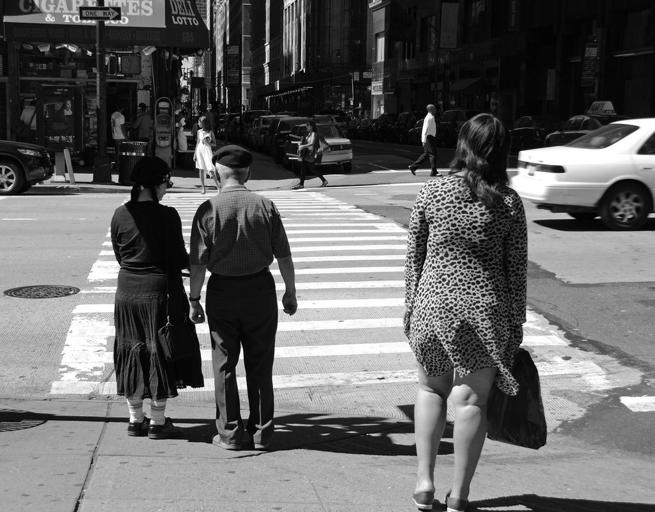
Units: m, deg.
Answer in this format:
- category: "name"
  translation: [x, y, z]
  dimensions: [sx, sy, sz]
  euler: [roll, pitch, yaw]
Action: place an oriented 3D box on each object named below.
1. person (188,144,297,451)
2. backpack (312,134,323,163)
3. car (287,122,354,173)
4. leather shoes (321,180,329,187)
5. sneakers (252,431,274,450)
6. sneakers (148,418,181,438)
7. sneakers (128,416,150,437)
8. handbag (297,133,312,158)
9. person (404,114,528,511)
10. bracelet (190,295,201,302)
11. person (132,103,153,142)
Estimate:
- category: "person"
  translation: [-0.537, 0.280, 4.599]
  dimensions: [0.695, 1.942, 0.403]
  euler: [-2, 10, -12]
- category: "backpack"
  translation: [-0.280, -3.388, 22.355]
  dimensions: [0.216, 0.818, 0.487]
  euler: [4, 3, -3]
- category: "car"
  translation: [-0.217, -4.037, 26.777]
  dimensions: [1.396, 1.128, 3.063]
  euler: [-7, 20, -17]
- category: "leather shoes"
  translation: [-0.116, -2.311, 22.798]
  dimensions: [0.246, 0.125, 0.359]
  euler: [-1, 7, 0]
- category: "sneakers"
  translation: [-0.424, 1.198, 4.640]
  dimensions: [0.060, 0.078, 0.175]
  euler: [2, 5, 5]
- category: "sneakers"
  translation: [-1.088, 1.159, 4.795]
  dimensions: [0.213, 0.104, 0.091]
  euler: [-3, 5, -39]
- category: "sneakers"
  translation: [-1.261, 1.149, 4.829]
  dimensions: [0.077, 0.092, 0.191]
  euler: [3, 7, 27]
- category: "handbag"
  translation: [-0.707, -3.328, 21.645]
  dimensions: [0.333, 0.711, 0.897]
  euler: [-1, 11, -6]
- category: "person"
  translation: [0.706, 0.311, 3.688]
  dimensions: [0.627, 2.046, 0.444]
  euler: [1, 10, 7]
- category: "bracelet"
  translation: [-0.866, 0.276, 4.654]
  dimensions: [0.051, 0.034, 0.063]
  euler: [1, 8, -1]
- category: "person"
  translation: [-6.783, -4.907, 26.308]
  dimensions: [0.679, 1.396, 1.153]
  euler: [-2, 10, -15]
